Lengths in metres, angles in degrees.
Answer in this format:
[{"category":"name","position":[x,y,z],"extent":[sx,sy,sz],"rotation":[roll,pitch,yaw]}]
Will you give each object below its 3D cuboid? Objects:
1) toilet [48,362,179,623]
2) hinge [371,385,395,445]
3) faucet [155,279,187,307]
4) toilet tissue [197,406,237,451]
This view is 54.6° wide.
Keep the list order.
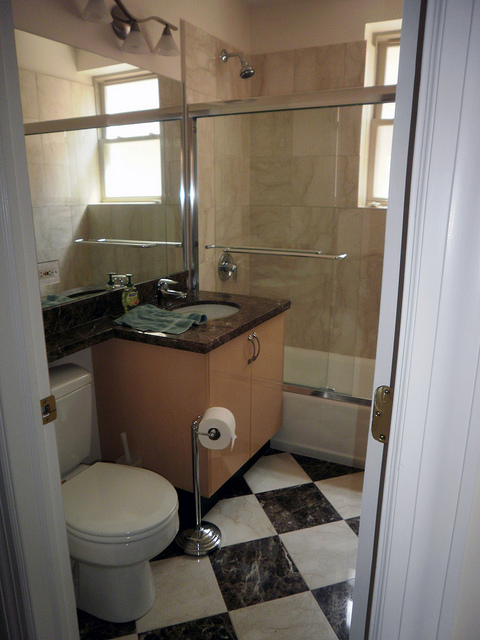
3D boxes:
[{"category":"toilet","position":[-0.509,0.603,1.602],"extent":[0.536,0.792,0.325],"rotation":[7,15,28]},{"category":"hinge","position":[0.210,0.141,0.684],"extent":[0.028,0.095,0.008],"rotation":[11,22,32]},{"category":"faucet","position":[-0.353,-0.149,2.329],"extent":[0.148,0.133,0.313],"rotation":[-2,12,-11]},{"category":"toilet tissue","position":[-0.078,0.378,1.638],"extent":[0.108,0.145,0.151],"rotation":[-2,7,-1]}]
